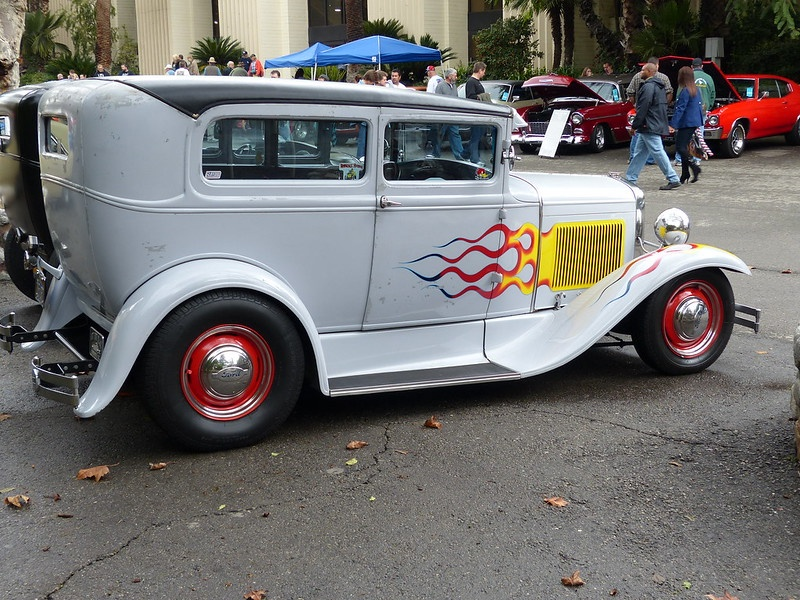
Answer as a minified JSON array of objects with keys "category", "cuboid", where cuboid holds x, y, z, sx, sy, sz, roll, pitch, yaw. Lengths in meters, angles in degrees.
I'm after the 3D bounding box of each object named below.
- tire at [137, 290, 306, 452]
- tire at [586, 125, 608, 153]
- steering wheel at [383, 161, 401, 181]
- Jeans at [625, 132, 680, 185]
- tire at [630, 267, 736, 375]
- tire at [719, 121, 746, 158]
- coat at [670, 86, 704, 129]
[{"category":"tire","cuboid":[-1.105,0.414,4.016,0.879,0.922,0.313,-5,7,-30]},{"category":"tire","cuboid":[5.488,-4.513,18.332,0.218,0.642,0.616,11,16,40]},{"category":"steering wheel","cuboid":[-0.060,-0.886,4.487,0.126,0.149,0.020,9,-12,-32]},{"category":"Jeans","cuboid":[4.784,-2.817,12.598,1.029,1.330,0.504,15,39,42]},{"category":"tire","cuboid":[2.176,0.146,5.081,0.627,0.719,0.226,20,-4,-23]},{"category":"tire","cuboid":[8.413,-4.100,16.668,0.779,0.815,0.252,-9,14,-38]},{"category":"coat","cuboid":[5.927,-3.981,13.553,0.572,0.832,1.460,5,15,38]}]
